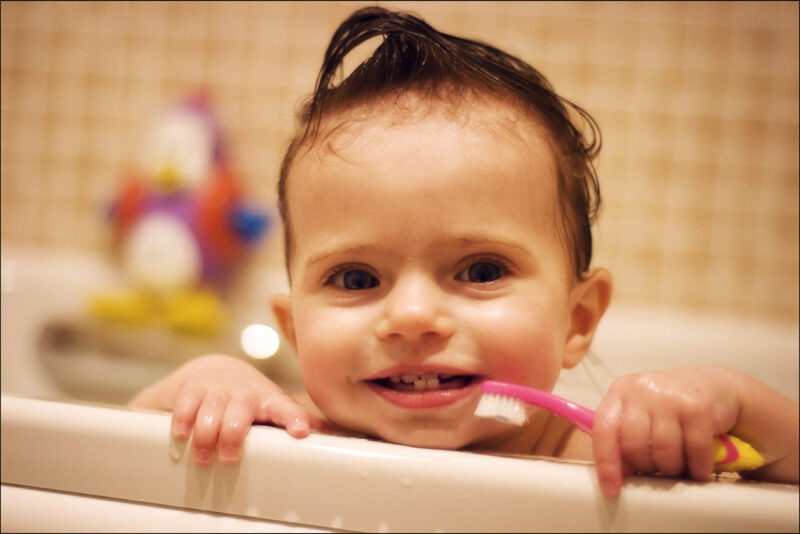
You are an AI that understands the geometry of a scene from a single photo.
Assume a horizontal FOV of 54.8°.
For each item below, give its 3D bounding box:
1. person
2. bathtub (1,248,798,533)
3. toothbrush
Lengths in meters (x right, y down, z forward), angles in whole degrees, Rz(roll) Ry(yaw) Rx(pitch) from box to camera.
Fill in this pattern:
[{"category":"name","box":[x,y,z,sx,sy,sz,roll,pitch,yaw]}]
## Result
[{"category":"person","box":[0.108,0.015,1.704,1.497,0.994,0.832,-2,-4,7]},{"category":"bathtub","box":[-0.089,0.242,1.462,1.655,0.512,0.450,3,-5,3]},{"category":"toothbrush","box":[0.382,0.273,1.340,0.514,0.114,0.106,8,23,6]}]
